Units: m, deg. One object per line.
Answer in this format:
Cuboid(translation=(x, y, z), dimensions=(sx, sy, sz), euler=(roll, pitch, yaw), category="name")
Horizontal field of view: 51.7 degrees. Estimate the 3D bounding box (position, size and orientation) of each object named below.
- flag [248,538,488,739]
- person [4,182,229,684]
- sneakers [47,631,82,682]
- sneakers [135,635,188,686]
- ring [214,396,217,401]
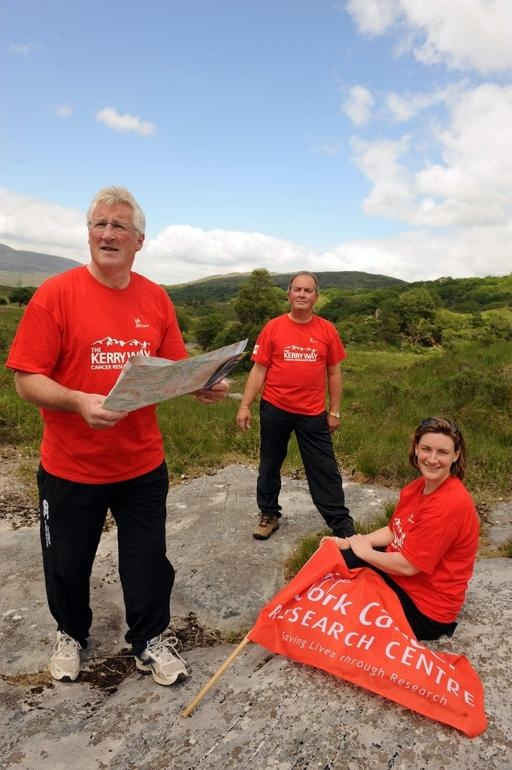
Cuboid(translation=(0.557, 1.068, 2.392), dimensions=(0.993, 0.286, 0.630), euler=(-3, 5, 36), category="flag")
Cuboid(translation=(-0.680, 0.306, 2.461), dimensions=(0.815, 1.792, 0.672), euler=(-8, 4, -16), category="person")
Cuboid(translation=(-0.929, 1.334, 2.602), dimensions=(0.108, 0.118, 0.265), euler=(24, -10, -22), category="sneakers")
Cuboid(translation=(-0.446, 1.311, 2.543), dimensions=(0.147, 0.121, 0.290), euler=(4, -15, -30), category="sneakers")
Cuboid(translation=(-0.207, 0.077, 2.817), dimensions=(0.017, 0.022, 0.013), euler=(-1, -1, 32), category="ring")
